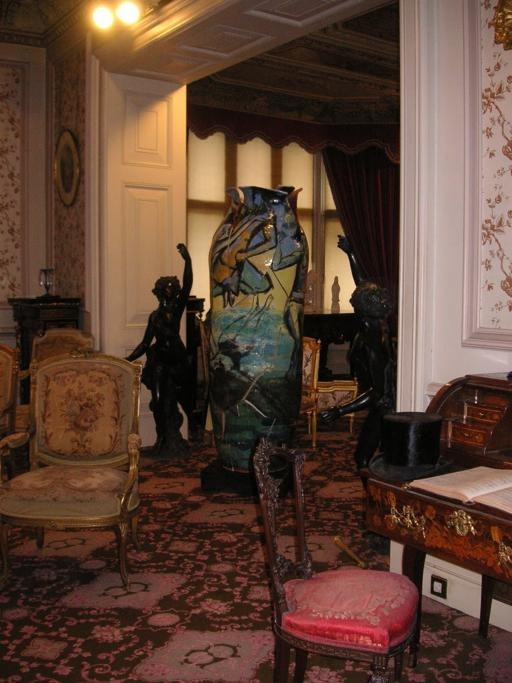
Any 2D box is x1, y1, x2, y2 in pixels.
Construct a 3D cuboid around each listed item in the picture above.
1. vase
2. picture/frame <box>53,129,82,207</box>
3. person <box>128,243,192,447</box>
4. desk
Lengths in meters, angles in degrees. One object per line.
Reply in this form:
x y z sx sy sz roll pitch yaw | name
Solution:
-0.003 0.034 3.633 0.640 1.988 0.380 0 1 3 | vase
-1.862 -1.736 5.598 0.094 0.878 0.888 -3 8 -24 | picture/frame
-0.733 0.169 4.621 0.622 1.501 0.509 0 1 15 | person
0.982 -0.067 7.031 0.755 0.981 1.041 0 4 -5 | desk
